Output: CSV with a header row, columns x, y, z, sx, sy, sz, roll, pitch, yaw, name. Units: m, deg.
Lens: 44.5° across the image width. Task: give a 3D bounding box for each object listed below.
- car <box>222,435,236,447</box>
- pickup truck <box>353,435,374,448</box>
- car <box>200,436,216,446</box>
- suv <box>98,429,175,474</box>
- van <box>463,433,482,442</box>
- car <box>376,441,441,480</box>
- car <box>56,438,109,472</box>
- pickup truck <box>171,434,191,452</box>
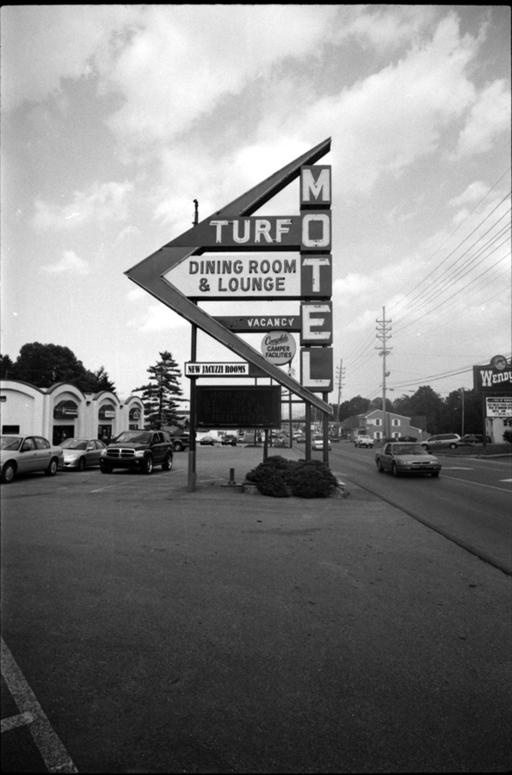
x,y,z,sx,sy,sz,roll,pitch,yaw,name
-2.973,5.807,69.597,1.381,1.337,4.602,0,-7,-6,car
11.538,5.729,67.110,1.080,1.344,2.385,0,-11,-3,pickup truck
-5.544,6.078,72.172,1.348,1.043,2.937,-2,-6,14,car
-4.383,2.368,23.295,1.696,1.616,3.075,-2,-6,16,suv
28.948,6.610,83.440,1.643,1.283,1.201,-7,-2,12,van
5.543,2.580,22.823,1.559,1.304,3.149,-1,-6,2,car
-6.864,2.589,24.332,0.914,0.985,2.410,-2,-9,6,car
-5.373,3.832,44.073,1.474,1.310,3.238,-1,-7,7,pickup truck
